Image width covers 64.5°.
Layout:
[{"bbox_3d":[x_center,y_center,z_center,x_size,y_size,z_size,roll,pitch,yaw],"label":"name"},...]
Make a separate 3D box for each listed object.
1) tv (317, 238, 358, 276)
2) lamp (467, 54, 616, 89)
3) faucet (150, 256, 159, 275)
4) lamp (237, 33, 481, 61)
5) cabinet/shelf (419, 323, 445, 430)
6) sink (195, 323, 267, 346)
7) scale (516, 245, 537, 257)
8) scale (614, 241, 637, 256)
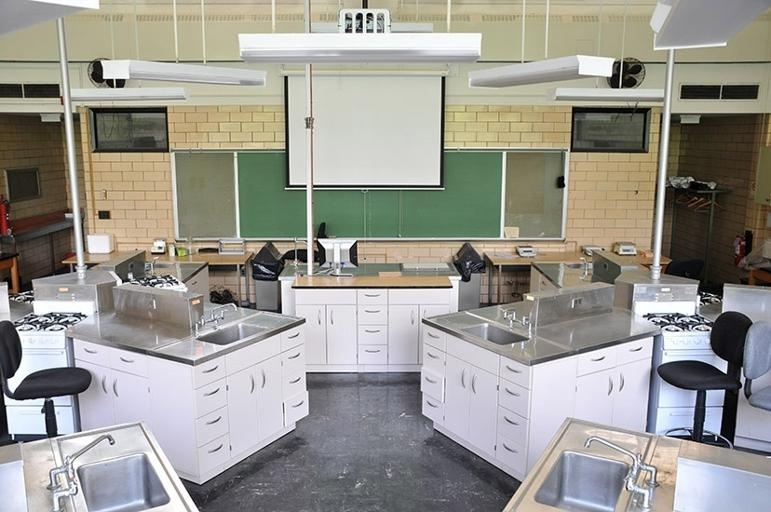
[{"bbox_3d":[-0.611,-0.004,7.791,0.486,0.445,0.387,-2,12,-5],"label":"tv"},{"bbox_3d":[1.456,-1.780,5.893,0.358,0.191,1.388,-9,14,-37],"label":"lamp"},{"bbox_3d":[-3.257,0.144,8.608,0.065,0.255,0.205,2,-1,-28],"label":"faucet"},{"bbox_3d":[-0.202,-1.629,4.765,1.840,0.226,0.287,1,12,6],"label":"lamp"},{"bbox_3d":[0.484,1.238,6.247,0.131,1.046,0.404,-7,14,-27],"label":"cabinet/shelf"},{"bbox_3d":[-1.500,0.790,6.122,0.264,0.146,0.372,5,11,27],"label":"sink"},{"bbox_3d":[2.216,-0.071,9.424,0.366,0.137,0.325,-1,11,-4],"label":"scale"},{"bbox_3d":[3.727,-0.114,9.464,0.334,0.176,0.319,2,12,15],"label":"scale"}]
